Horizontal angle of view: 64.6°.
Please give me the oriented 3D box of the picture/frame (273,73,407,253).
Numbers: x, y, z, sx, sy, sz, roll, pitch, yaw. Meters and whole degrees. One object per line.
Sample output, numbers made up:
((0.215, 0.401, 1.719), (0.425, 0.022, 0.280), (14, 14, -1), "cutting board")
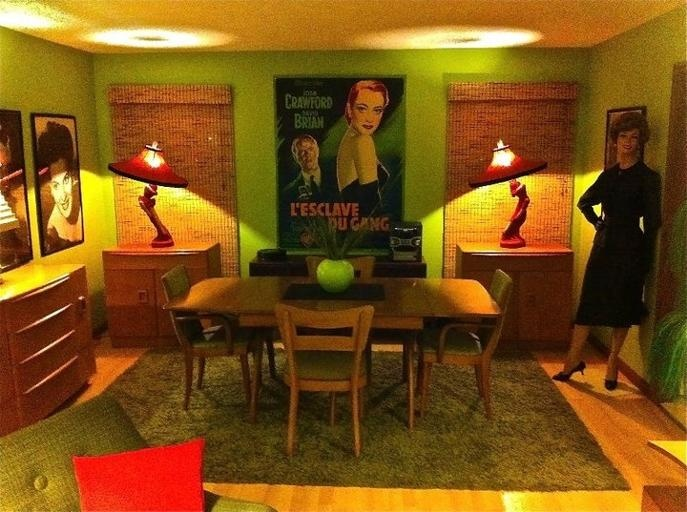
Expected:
((-0.016, -1.008, 5.378), (1.862, 2.339, 0.112), (0, 7, -1), "picture/frame")

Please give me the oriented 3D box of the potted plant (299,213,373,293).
((-0.062, 0.009, 4.191), (0.667, 0.746, 0.628), (2, 3, 2), "potted plant")

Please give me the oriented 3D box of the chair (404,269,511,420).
((0.922, 0.605, 4.370), (0.955, 1.342, 1.015), (2, 6, 5), "chair")

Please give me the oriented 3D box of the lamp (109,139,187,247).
((-1.864, -0.556, 5.161), (0.623, 0.979, 0.733), (-8, 18, -26), "lamp")

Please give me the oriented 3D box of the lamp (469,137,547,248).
((1.564, -0.552, 5.218), (0.742, 0.922, 0.743), (-7, 5, 8), "lamp")

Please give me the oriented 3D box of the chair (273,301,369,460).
((-0.115, 0.715, 3.684), (0.585, 1.019, 0.703), (1, 16, 2), "chair")

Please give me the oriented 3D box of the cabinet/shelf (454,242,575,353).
((1.668, 0.347, 5.316), (0.971, 0.880, 0.509), (0, 10, 14), "cabinet/shelf")
